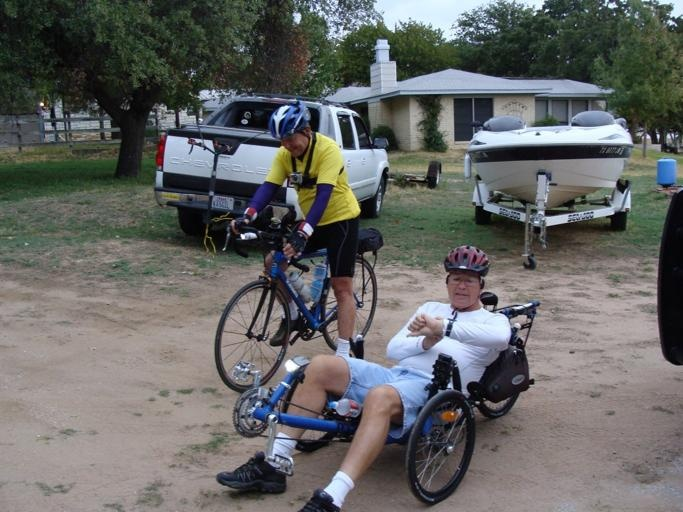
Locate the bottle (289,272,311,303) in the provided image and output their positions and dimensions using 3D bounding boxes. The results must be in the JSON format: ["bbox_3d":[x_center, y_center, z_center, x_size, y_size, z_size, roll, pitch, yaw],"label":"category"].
[{"bbox_3d":[-0.374,0.296,7.040,0.123,0.355,0.117,-30,27,18],"label":"bottle"}]

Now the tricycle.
[{"bbox_3d":[0.625,1.067,5.987,1.371,0.821,2.428,-2,6,39],"label":"tricycle"}]

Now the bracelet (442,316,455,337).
[{"bbox_3d":[0.818,0.545,5.863,0.047,0.118,0.092,16,-13,-11],"label":"bracelet"}]

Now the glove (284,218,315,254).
[{"bbox_3d":[-0.341,-0.166,6.498,0.200,0.111,0.320,24,64,30],"label":"glove"}]

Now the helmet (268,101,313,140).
[{"bbox_3d":[-0.425,-1.167,6.506,0.292,0.158,0.369,10,37,30],"label":"helmet"}]

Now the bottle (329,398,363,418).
[{"bbox_3d":[0.023,1.110,5.496,0.113,0.104,0.194,29,4,36],"label":"bottle"}]

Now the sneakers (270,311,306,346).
[{"bbox_3d":[-0.487,0.681,7.041,0.460,0.171,0.155,-26,15,-40],"label":"sneakers"}]

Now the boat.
[{"bbox_3d":[3.397,-1.150,11.890,2.511,2.361,2.877,1,7,1],"label":"boat"}]

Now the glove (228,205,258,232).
[{"bbox_3d":[-0.887,-0.323,6.716,0.169,0.104,0.279,19,38,18],"label":"glove"}]

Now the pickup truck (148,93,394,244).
[{"bbox_3d":[-0.974,-1.547,12.044,2.366,1.455,3.968,5,13,21],"label":"pickup truck"}]
